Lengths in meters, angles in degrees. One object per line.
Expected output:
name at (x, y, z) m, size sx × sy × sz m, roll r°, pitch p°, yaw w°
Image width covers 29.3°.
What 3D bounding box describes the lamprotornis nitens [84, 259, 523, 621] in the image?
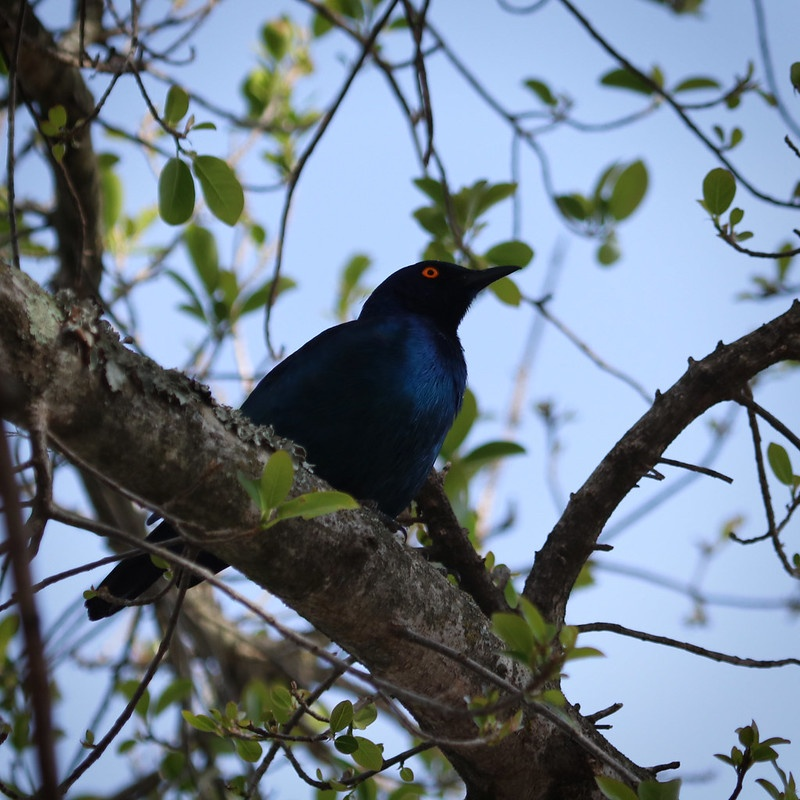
lamprotornis nitens at (-0.298, 0.107, 5.904) m, size 1.557 × 1.151 × 0.661 m, roll -16°, pitch -37°, yaw 16°
